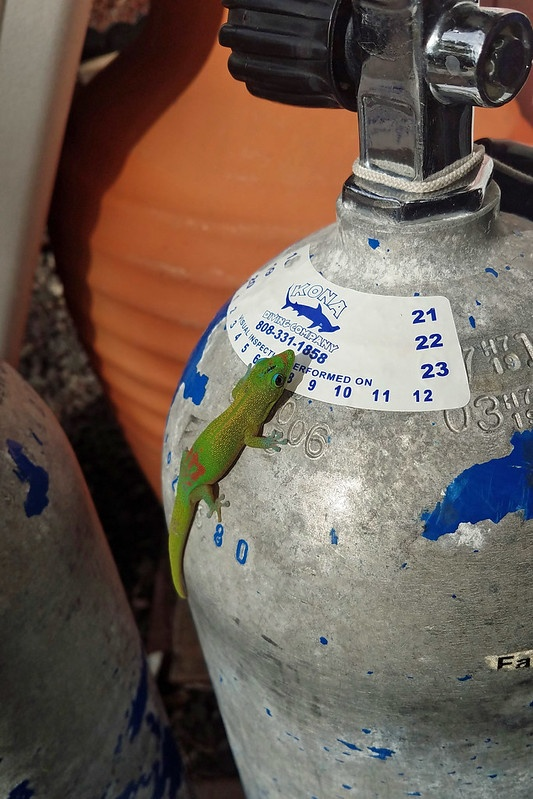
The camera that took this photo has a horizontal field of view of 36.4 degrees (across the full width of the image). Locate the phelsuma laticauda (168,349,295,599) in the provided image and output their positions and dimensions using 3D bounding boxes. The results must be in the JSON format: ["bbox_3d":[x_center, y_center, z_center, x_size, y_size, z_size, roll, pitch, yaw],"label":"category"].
[{"bbox_3d":[-0.028,0.049,0.657,0.081,0.172,0.047,39,13,27],"label":"phelsuma laticauda"}]
